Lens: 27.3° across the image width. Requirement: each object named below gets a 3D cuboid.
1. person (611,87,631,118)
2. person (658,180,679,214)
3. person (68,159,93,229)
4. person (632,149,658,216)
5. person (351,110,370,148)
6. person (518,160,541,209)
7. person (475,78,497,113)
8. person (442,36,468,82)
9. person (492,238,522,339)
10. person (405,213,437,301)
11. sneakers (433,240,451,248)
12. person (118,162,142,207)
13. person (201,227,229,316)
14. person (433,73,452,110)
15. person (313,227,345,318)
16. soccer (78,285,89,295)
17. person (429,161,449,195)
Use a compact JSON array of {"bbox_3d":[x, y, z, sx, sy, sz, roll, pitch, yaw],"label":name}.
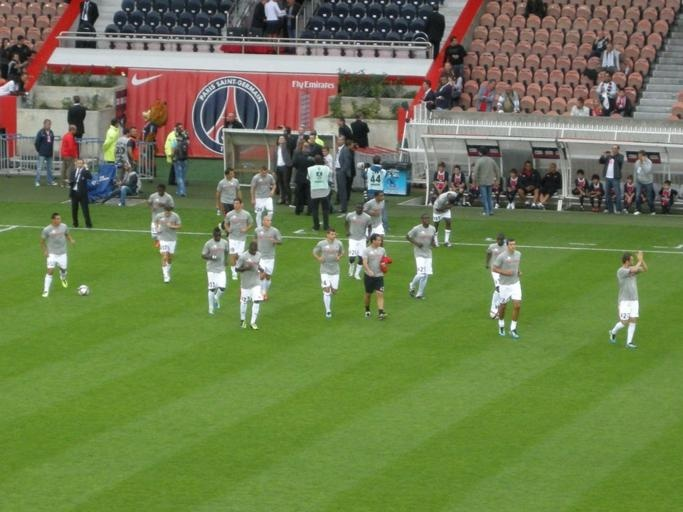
[{"bbox_3d":[9.673,-5.209,48.274,0.520,0.866,0.766,0,11,-14],"label":"person"},{"bbox_3d":[10.675,-1.938,45.985,0.577,1.160,1.745,6,11,13],"label":"person"},{"bbox_3d":[-7.769,-1.869,42.282,0.673,2.135,1.384,1,11,-10],"label":"person"},{"bbox_3d":[9.844,-2.356,45.529,0.760,2.101,1.455,5,11,12],"label":"person"},{"bbox_3d":[0.676,-4.301,48.954,0.601,1.165,1.520,3,11,0],"label":"person"},{"bbox_3d":[6.258,-2.365,46.807,0.815,1.497,0.805,2,6,44],"label":"person"},{"bbox_3d":[5.113,-5.605,49.492,0.632,1.062,1.075,4,11,4],"label":"person"},{"bbox_3d":[4.177,-6.947,51.258,0.852,1.938,0.627,-3,18,9],"label":"person"},{"bbox_3d":[4.014,0.780,33.897,0.723,2.354,0.801,5,11,8],"label":"person"},{"bbox_3d":[2.067,0.000,36.453,0.624,2.190,0.950,4,11,6],"label":"person"},{"bbox_3d":[2.981,-0.309,41.233,0.583,0.253,0.189,0,6,25],"label":"sneakers"},{"bbox_3d":[-6.998,-2.404,46.822,0.710,1.313,2.009,1,11,-9],"label":"person"},{"bbox_3d":[-3.122,0.341,35.132,0.604,2.195,1.205,2,11,-5],"label":"person"},{"bbox_3d":[3.606,-5.701,49.384,0.612,1.115,0.953,4,11,3],"label":"person"},{"bbox_3d":[-0.316,0.399,35.050,0.673,2.233,0.966,3,11,-1],"label":"person"},{"bbox_3d":[-6.562,0.906,36.204,0.233,0.230,0.285,1,-8,-42],"label":"soccer"},{"bbox_3d":[3.284,-2.503,46.172,0.504,1.198,1.357,4,11,3],"label":"person"}]
